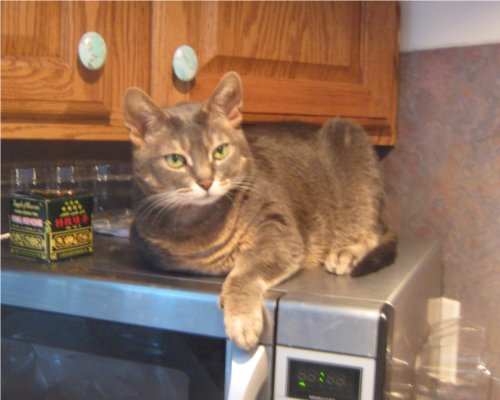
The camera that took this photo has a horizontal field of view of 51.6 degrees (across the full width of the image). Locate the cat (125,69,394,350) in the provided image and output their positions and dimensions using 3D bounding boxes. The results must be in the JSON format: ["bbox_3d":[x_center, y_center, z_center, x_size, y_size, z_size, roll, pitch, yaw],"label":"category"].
[{"bbox_3d":[0.034,-0.064,1.215,0.724,0.474,0.459,-18,25,-40],"label":"cat"}]

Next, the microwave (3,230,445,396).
[{"bbox_3d":[-0.086,0.261,1.105,0.894,0.341,0.342,2,8,14],"label":"microwave"}]
